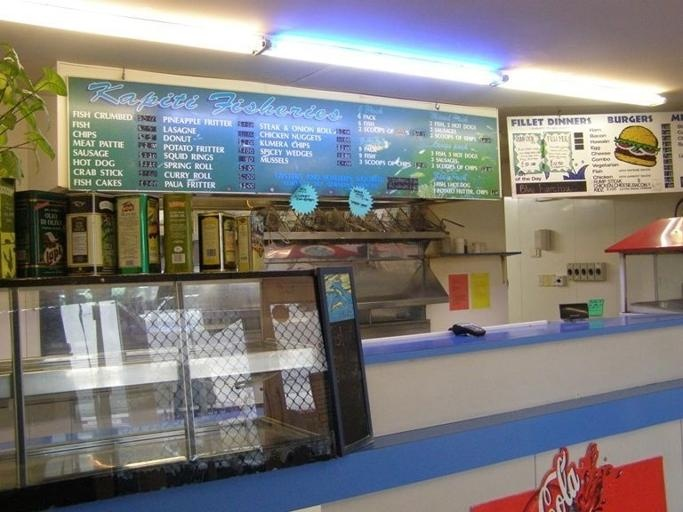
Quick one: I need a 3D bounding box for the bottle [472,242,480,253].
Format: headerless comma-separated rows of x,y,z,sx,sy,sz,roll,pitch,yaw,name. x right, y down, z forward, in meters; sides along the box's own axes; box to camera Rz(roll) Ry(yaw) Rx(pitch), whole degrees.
1.428,-0.085,5.923,0.120,0.125,0.089,2,3,10,bottle

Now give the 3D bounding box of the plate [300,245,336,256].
-0.214,-0.044,4.975,0.361,0.087,0.070,-6,3,-43,plate

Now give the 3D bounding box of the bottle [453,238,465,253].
1.204,-0.103,5.723,0.133,0.151,0.136,1,-2,18,bottle
